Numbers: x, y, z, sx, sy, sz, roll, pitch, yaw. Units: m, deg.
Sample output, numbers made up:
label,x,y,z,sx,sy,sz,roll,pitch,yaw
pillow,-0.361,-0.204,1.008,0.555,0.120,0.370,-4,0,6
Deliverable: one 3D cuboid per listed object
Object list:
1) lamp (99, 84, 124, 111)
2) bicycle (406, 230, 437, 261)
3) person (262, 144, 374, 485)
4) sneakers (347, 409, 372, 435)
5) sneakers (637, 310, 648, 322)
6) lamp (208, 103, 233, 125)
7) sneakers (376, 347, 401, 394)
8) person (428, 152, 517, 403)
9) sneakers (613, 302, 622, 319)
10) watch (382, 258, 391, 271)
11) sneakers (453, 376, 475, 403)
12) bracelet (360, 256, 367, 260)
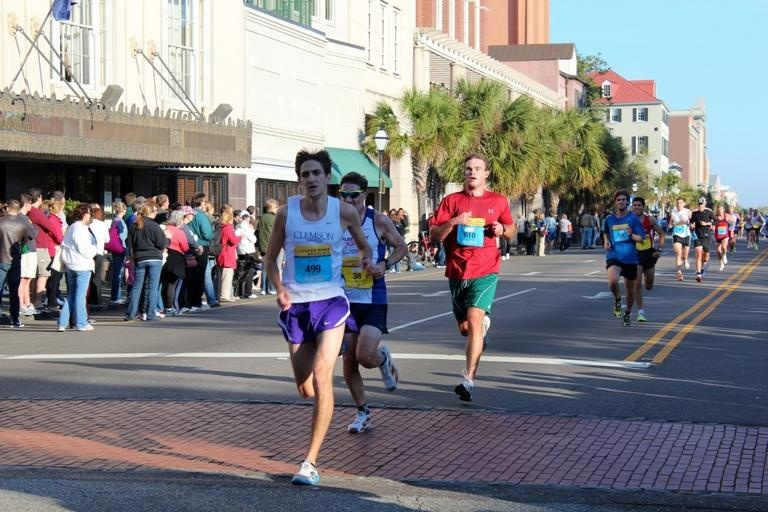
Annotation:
label,x,y,z,sx,sy,sz,roll,pitch,yaw
lamp,-6.992,-4.097,23.801,0.420,0.645,1.001,1,5,15
bicycle,1.211,-0.265,34.343,1.572,0.956,0.806,0,1,-35
person,-0.649,0.543,8.736,0.903,3.072,0.684,-1,4,-8
sneakers,-0.269,1.783,10.112,0.131,0.164,0.360,-1,14,28
sneakers,4.735,1.094,17.101,0.157,0.182,0.431,-2,-3,14
lamp,-4.791,-4.205,27.093,0.628,0.682,1.748,-1,5,-8
sneakers,0.040,1.214,10.574,0.215,0.286,0.649,-11,44,7
person,1.051,0.236,11.281,0.994,2.941,0.979,0,4,5
sneakers,4.256,0.993,17.017,0.134,0.361,0.163,3,-10,5
watch,0.022,0.084,10.028,0.110,0.118,0.077,2,2,11
sneakers,0.943,1.575,10.937,0.157,0.166,0.364,4,-33,0
bracelet,-0.199,0.009,9.213,0.047,0.046,0.018,-4,-9,-6
